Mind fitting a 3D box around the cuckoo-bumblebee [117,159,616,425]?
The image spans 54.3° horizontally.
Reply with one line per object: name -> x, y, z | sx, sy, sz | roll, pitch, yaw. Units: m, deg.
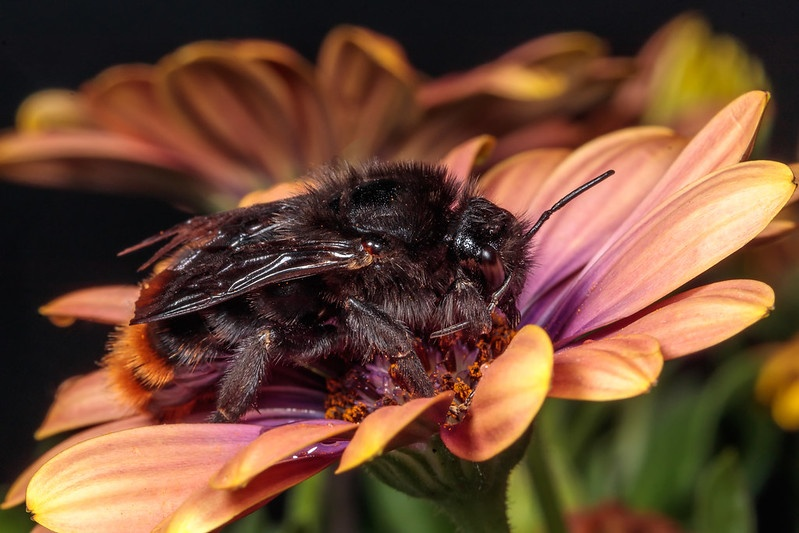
cuckoo-bumblebee -> -0.061, 0.072, 1.550 | 0.840, 0.313, 0.491 | -8, 25, 0

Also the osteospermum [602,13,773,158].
osteospermum -> 0.604, -0.388, 1.598 | 0.333, 0.234, 0.102 | 24, 33, 33
